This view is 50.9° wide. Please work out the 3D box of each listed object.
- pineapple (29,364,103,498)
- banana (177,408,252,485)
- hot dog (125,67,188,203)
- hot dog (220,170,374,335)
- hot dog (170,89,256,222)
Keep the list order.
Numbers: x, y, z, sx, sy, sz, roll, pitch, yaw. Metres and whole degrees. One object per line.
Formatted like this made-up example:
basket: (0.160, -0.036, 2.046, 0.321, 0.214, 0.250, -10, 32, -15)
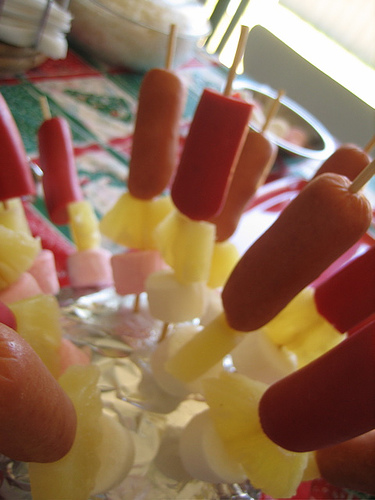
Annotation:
pineapple: (-0.083, 0.129, 0.284, 0.041, 0.048, 0.081, 19, 31, -20)
banana: (0.014, 0.162, 0.326, 0.061, 0.040, 0.058, -6, 31, -14)
hot dog: (-0.026, -0.099, 0.345, 0.051, 0.108, 0.027, 12, 33, 8)
hot dog: (0.050, 0.023, 0.296, 0.047, 0.171, 0.052, 45, 31, 14)
hot dog: (0.018, -0.069, 0.290, 0.052, 0.095, 0.023, 21, 33, 12)
